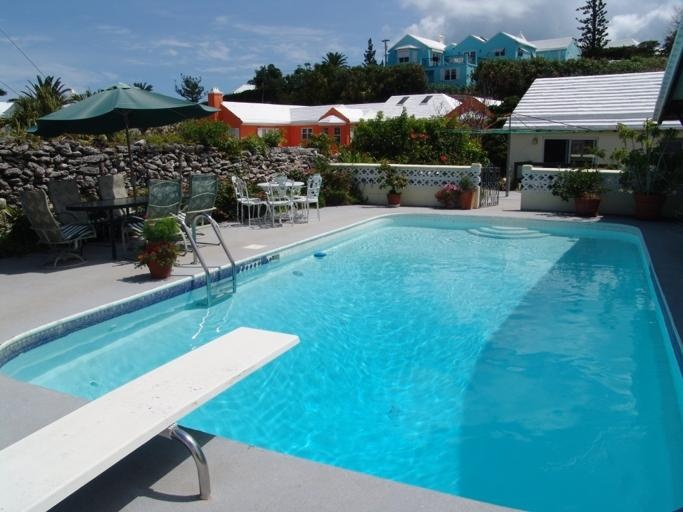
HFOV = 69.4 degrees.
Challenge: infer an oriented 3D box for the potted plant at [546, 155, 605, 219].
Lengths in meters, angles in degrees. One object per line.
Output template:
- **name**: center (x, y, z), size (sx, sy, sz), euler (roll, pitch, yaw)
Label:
- **potted plant**: center (6.264, -1.689, 13.058), size (1.241, 1.182, 0.928), euler (7, 22, 28)

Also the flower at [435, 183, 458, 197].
- **flower**: center (3.159, -1.916, 14.588), size (0.430, 0.284, 0.441), euler (-13, -2, 30)

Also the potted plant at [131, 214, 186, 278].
- **potted plant**: center (-2.840, -0.152, 7.354), size (0.749, 1.114, 0.816), euler (4, 10, 25)

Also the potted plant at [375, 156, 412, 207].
- **potted plant**: center (1.594, -2.270, 15.241), size (0.774, 1.369, 1.001), euler (-9, 20, -14)

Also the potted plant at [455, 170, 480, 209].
- **potted plant**: center (3.667, -1.911, 14.342), size (0.544, 0.955, 0.812), euler (10, 23, 34)

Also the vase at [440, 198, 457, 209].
- **vase**: center (3.135, -1.554, 14.483), size (0.304, 0.201, 0.307), euler (2, 6, 29)
